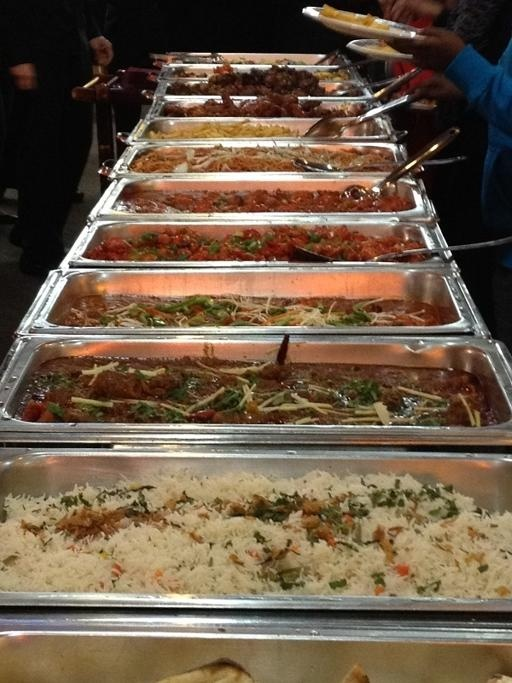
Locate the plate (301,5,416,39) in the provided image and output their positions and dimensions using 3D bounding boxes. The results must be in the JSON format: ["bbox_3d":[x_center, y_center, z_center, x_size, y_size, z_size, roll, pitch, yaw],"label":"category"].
[{"bbox_3d":[0.514,-1.518,2.697,0.491,0.093,0.490,-5,32,-17],"label":"plate"}]
